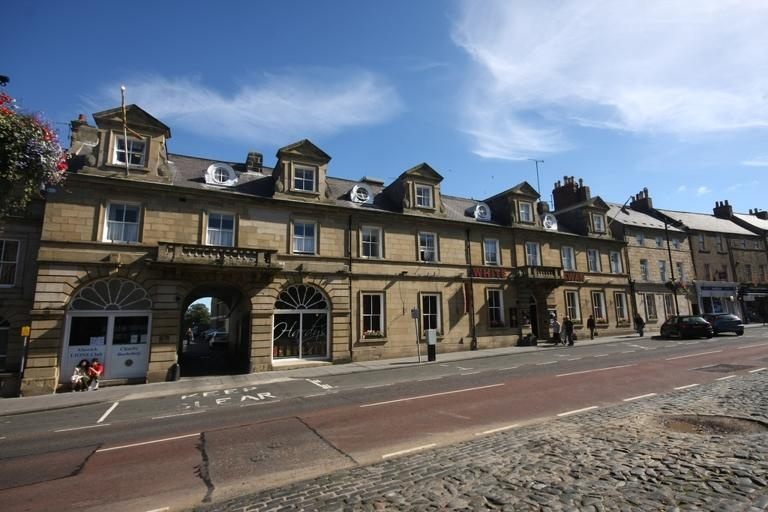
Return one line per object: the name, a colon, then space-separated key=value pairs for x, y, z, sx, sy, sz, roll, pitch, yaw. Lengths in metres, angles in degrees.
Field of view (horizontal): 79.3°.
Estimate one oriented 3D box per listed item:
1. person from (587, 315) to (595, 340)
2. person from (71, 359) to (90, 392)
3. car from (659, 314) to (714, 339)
person: x=15.948 y=5.546 z=35.724 sx=0.563 sy=1.687 sz=1.186 roll=-4 pitch=3 yaw=22
person: x=-14.579 y=5.774 z=22.312 sx=0.657 sy=1.445 sz=0.800 roll=-5 pitch=3 yaw=-2
car: x=21.339 y=5.194 z=32.923 sx=1.624 sy=1.767 sz=3.004 roll=-6 pitch=3 yaw=-28
